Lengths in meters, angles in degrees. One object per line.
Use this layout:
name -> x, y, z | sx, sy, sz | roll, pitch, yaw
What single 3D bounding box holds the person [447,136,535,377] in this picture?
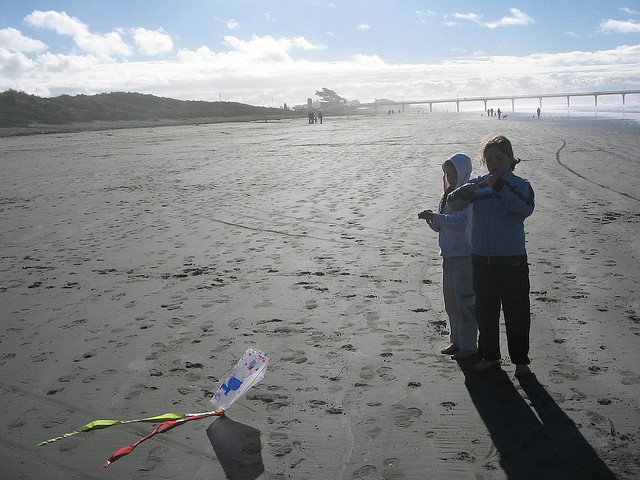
person -> 1.518, 0.168, 4.113 | 0.590, 2.077, 0.645 | -8, 20, -7
